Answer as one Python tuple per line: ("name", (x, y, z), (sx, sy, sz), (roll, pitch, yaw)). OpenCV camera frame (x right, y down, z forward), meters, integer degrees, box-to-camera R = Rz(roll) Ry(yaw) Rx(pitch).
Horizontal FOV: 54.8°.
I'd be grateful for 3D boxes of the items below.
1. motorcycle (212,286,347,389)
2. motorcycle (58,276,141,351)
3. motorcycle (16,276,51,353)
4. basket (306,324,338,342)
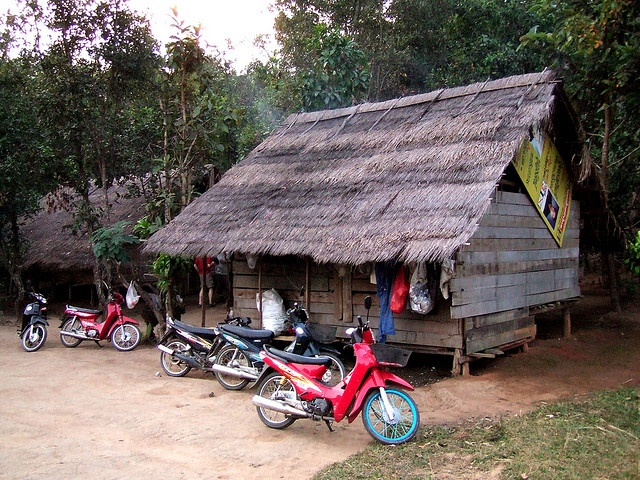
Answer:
("motorcycle", (-0.429, 2.103, 11.941), (2.919, 2.054, 1.204), (-4, -6, 7))
("motorcycle", (-5.184, 1.829, 14.479), (1.901, 1.463, 0.803), (3, -7, 5))
("motorcycle", (-6.897, 1.962, 14.871), (0.717, 1.405, 2.052), (17, -16, -32))
("basket", (0.023, 1.719, 11.433), (0.415, 0.278, 0.324), (3, 2, 32))
